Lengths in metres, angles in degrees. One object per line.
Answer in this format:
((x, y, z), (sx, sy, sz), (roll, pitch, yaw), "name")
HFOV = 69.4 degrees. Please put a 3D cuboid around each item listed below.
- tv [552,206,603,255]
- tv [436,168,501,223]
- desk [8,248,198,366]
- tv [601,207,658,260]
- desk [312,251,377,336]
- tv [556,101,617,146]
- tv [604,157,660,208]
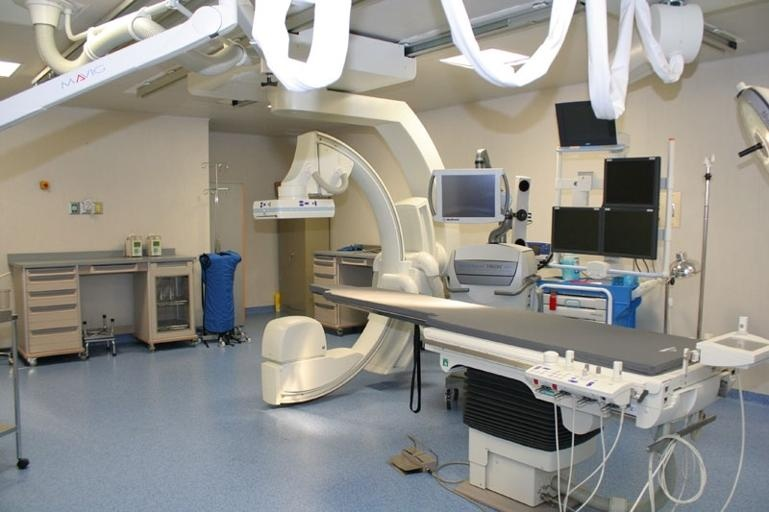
((1.799, -0.238, 5.113), (0.444, 0.404, 0.040), (6, 8, 33), "tv")
((0.770, -0.537, 4.918), (0.512, 0.360, 0.053), (0, 7, 13), "tv")
((-3.361, 0.612, 6.613), (1.376, 0.843, 0.485), (-2, 2, -39), "desk")
((2.161, -0.204, 4.835), (0.446, 0.414, 0.044), (6, 11, 41), "tv")
((-0.550, 0.529, 8.006), (0.794, 1.107, 0.833), (4, 4, 38), "desk")
((1.713, -1.105, 4.662), (0.556, 0.446, 0.191), (6, 23, 33), "tv")
((2.150, -0.634, 4.831), (0.476, 0.437, 0.059), (7, 15, 45), "tv")
